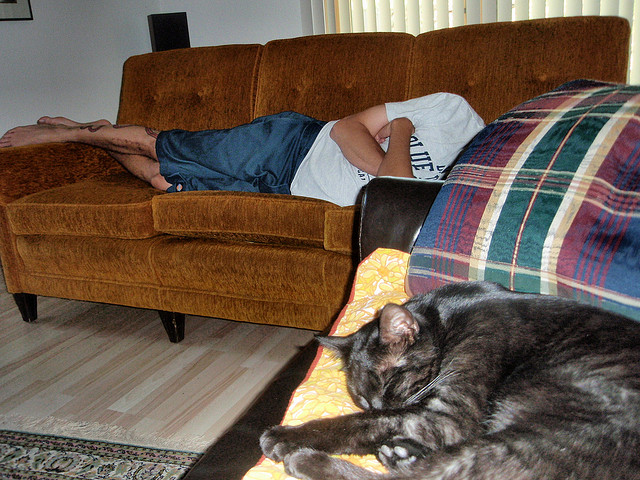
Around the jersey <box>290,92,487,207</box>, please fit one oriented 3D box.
[{"bbox_3d":[0.230,-0.244,2.002,0.600,0.206,0.565,3,33,30],"label":"jersey"}]

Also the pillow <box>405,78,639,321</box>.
[{"bbox_3d":[0.358,-0.092,0.872,0.465,0.386,0.132,7,-18,34],"label":"pillow"}]

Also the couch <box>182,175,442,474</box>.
[{"bbox_3d":[-0.043,0.169,1.262,0.327,0.380,0.900,14,45,19],"label":"couch"}]

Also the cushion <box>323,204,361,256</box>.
[{"bbox_3d":[0.073,-0.029,1.723,0.174,0.143,0.075,7,15,27],"label":"cushion"}]
